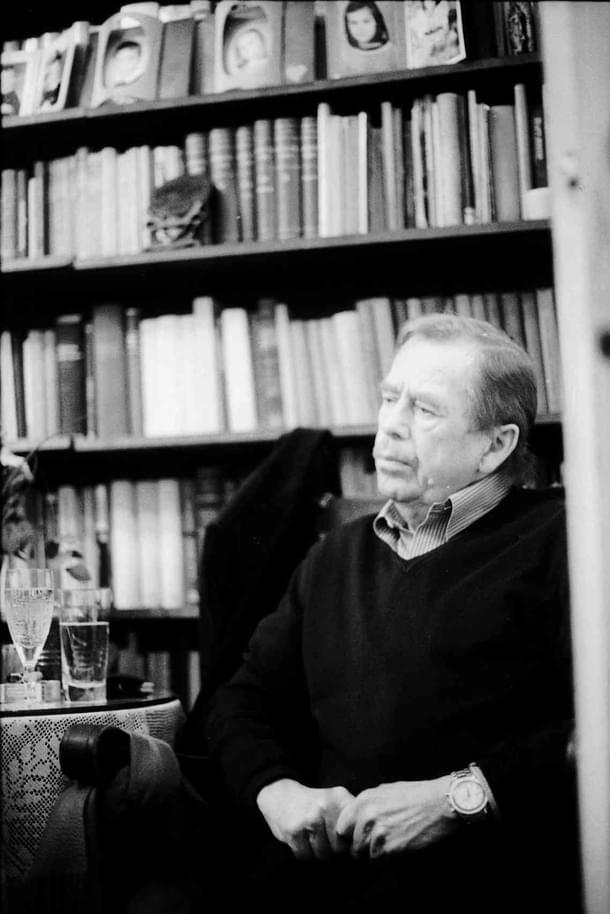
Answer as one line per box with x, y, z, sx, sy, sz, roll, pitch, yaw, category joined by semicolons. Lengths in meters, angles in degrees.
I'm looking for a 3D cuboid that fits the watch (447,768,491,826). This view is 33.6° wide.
0.251;0.512;1.530;0.050;0.087;0.076;-6;-10;-1;watch
